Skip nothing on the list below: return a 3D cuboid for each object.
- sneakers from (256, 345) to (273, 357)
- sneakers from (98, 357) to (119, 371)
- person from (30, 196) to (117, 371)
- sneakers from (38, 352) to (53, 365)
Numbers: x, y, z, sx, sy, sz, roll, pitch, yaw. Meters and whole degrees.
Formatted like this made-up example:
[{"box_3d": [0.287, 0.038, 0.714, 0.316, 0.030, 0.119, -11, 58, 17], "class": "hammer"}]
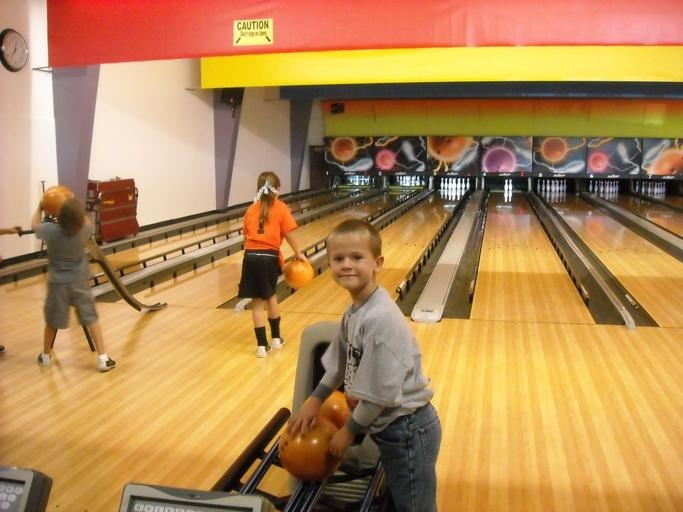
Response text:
[{"box_3d": [-0.551, 0.675, 3.271, 0.043, 0.055, 0.119, 1, 5, 7], "class": "sneakers"}, {"box_3d": [-1.552, 0.705, 3.064, 0.058, 0.087, 0.121, 2, 8, 17], "class": "sneakers"}, {"box_3d": [-1.764, 0.189, 2.960, 0.493, 1.125, 0.206, 1, 10, 7], "class": "person"}, {"box_3d": [-1.995, 0.685, 3.096, 0.051, 0.065, 0.132, 3, 2, -21], "class": "sneakers"}]
